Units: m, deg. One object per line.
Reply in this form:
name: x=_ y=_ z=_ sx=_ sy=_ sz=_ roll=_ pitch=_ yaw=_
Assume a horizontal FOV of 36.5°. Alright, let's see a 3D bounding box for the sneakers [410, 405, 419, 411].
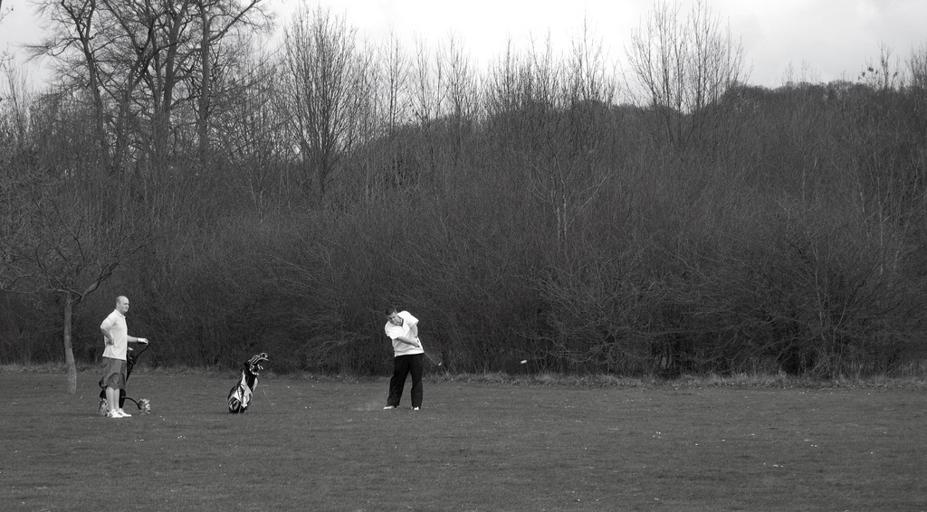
sneakers: x=-1.806 y=5.708 z=53.112 sx=0.246 sy=0.113 sz=0.135 roll=-7 pitch=11 yaw=-29
